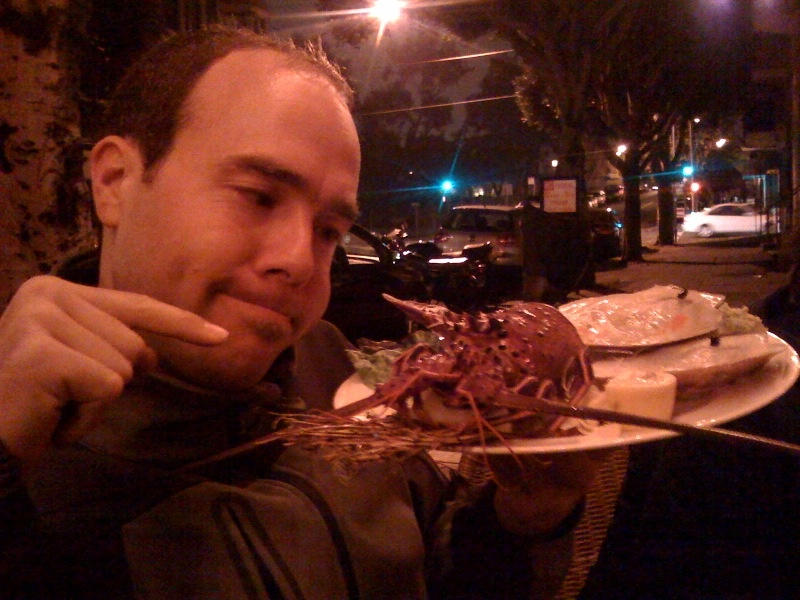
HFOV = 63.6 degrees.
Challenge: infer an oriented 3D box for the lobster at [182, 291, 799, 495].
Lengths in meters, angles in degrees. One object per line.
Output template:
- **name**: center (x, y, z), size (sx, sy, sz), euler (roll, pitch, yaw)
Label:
- **lobster**: center (0.131, 0.120, 1.041), size (0.762, 0.248, 0.307), euler (0, 6, 3)

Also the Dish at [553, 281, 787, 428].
- **Dish**: center (0.432, 0.078, 1.263), size (0.398, 0.107, 0.481), euler (-3, 10, 12)
